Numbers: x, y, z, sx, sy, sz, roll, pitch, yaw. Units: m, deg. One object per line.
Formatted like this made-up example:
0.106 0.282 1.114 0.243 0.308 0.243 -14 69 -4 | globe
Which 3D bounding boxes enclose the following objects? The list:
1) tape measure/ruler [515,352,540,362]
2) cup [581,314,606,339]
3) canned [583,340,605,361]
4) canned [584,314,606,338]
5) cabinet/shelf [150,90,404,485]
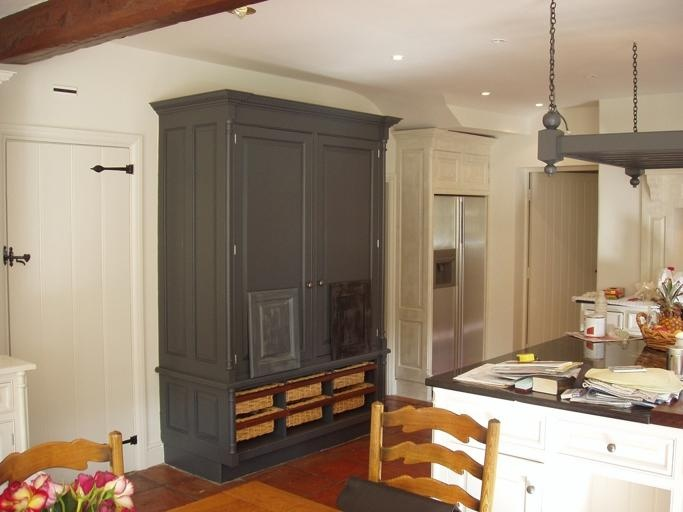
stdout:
1.001 0.557 3.099 0.077 0.029 0.072 0 -4 -38 | tape measure/ruler
1.601 0.459 3.718 0.156 0.149 0.146 -1 0 0 | cup
1.463 0.553 3.297 0.099 0.100 0.096 -2 0 16 | canned
1.624 0.445 3.654 0.156 0.153 0.143 -1 0 -17 | canned
-0.499 0.211 4.454 1.720 2.782 0.693 -3 4 -32 | cabinet/shelf
